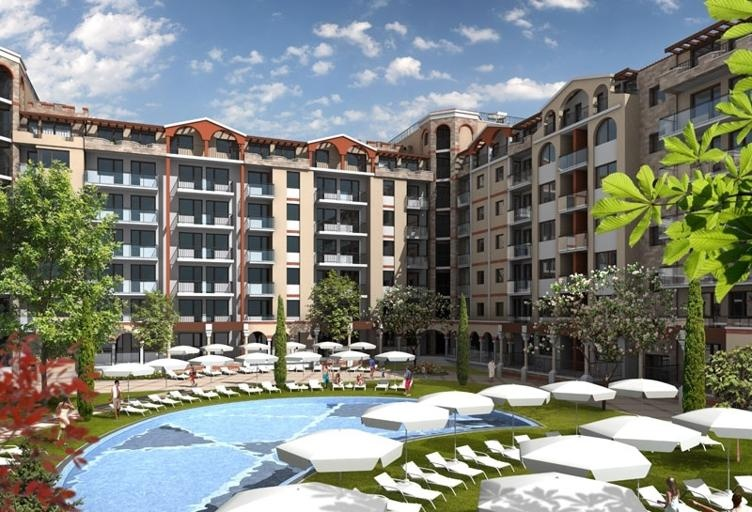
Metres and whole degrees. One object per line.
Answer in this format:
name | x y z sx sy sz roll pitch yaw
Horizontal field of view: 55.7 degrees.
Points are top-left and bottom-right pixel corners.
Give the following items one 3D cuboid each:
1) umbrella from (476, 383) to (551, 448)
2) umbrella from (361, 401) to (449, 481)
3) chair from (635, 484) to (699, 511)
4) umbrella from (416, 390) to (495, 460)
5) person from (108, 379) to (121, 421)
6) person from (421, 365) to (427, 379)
umbrella | 6.073 6.733 31.460 1.922 1.496 1.870 4 -2 -12
umbrella | 1.238 6.951 29.249 3.888 2.306 3.752 1 1 -26
chair | 10.139 8.631 25.076 0.787 0.463 1.579 2 -4 -19
umbrella | 3.425 7.110 30.232 2.641 2.095 2.645 -2 -9 39
person | -13.334 7.280 36.404 0.390 1.972 1.019 -3 4 -23
person | 3.523 8.229 51.430 0.383 0.769 0.943 -1 3 3
